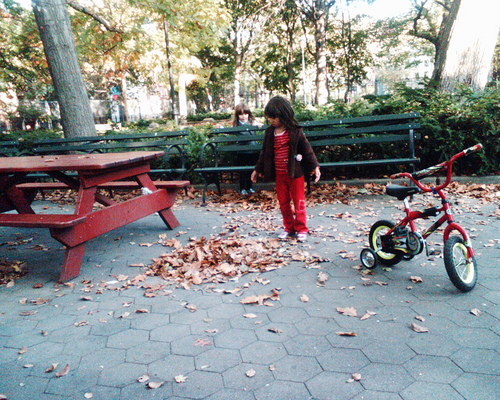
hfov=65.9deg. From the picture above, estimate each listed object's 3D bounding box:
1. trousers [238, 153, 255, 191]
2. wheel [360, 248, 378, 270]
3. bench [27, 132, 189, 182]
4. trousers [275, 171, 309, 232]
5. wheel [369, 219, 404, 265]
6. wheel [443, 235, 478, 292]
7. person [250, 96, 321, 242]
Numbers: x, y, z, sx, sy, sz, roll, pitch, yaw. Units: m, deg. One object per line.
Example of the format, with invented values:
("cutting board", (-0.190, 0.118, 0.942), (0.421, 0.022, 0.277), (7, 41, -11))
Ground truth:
("trousers", (-0.045, -0.518, 7.173), (0.323, 0.673, 0.559), (-3, 15, -1))
("wheel", (1.247, 0.594, 3.927), (0.117, 0.221, 0.199), (-9, 16, -23))
("bench", (-3.038, -0.693, 7.775), (3.736, 1.064, 1.023), (-1, 1, 23))
("trousers", (0.567, 0.023, 4.882), (0.271, 0.789, 0.429), (-13, 19, -34))
("wheel", (1.380, 0.432, 3.950), (0.265, 0.500, 0.358), (-2, 15, 2))
("wheel", (1.911, 0.547, 3.461), (0.254, 0.502, 0.447), (9, 18, 34))
("person", (0.440, -0.392, 4.821), (0.847, 1.754, 0.426), (9, 20, 35))
